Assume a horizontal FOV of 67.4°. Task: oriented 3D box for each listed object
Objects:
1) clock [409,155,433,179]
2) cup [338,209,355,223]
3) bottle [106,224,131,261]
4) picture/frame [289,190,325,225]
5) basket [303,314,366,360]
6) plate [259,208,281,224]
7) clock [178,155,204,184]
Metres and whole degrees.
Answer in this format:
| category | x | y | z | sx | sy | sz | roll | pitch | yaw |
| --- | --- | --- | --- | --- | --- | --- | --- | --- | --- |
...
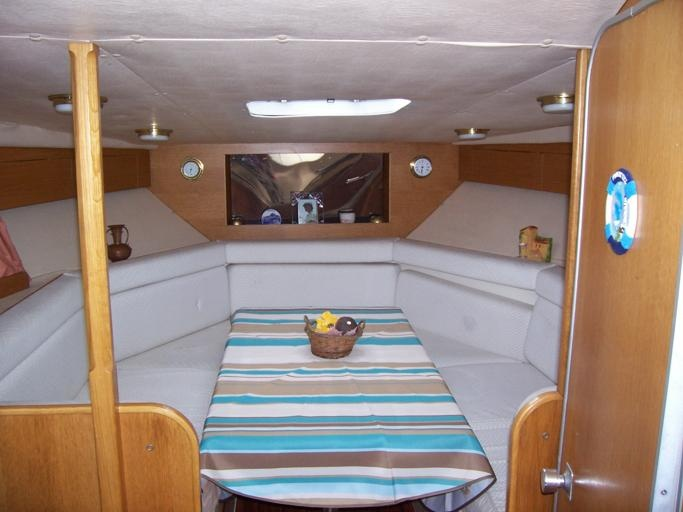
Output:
| category | x | y | z | sx | sy | sz | roll | pitch | yaw |
| --- | --- | --- | --- | --- | --- | --- | --- | --- | --- |
| clock | 0.637 | -0.701 | 4.039 | 0.169 | 0.160 | 0.038 | -10 | 4 | -7 |
| cup | 0.047 | -0.325 | 4.188 | 0.096 | 0.082 | 0.126 | 1 | -3 | -4 |
| bottle | -1.352 | -0.078 | 3.095 | 0.166 | 0.207 | 0.158 | 1 | 11 | 0 |
| picture/frame | -0.285 | -0.404 | 4.239 | 0.350 | 0.372 | 0.051 | 0 | -12 | -9 |
| basket | -0.030 | 0.375 | 2.376 | 0.233 | 0.138 | 0.234 | -2 | 7 | -34 |
| plate | -0.593 | -0.343 | 4.333 | 0.182 | 0.187 | 0.163 | 5 | -16 | -9 |
| clock | -1.133 | -0.662 | 3.868 | 0.165 | 0.157 | 0.038 | 10 | 6 | -4 |
